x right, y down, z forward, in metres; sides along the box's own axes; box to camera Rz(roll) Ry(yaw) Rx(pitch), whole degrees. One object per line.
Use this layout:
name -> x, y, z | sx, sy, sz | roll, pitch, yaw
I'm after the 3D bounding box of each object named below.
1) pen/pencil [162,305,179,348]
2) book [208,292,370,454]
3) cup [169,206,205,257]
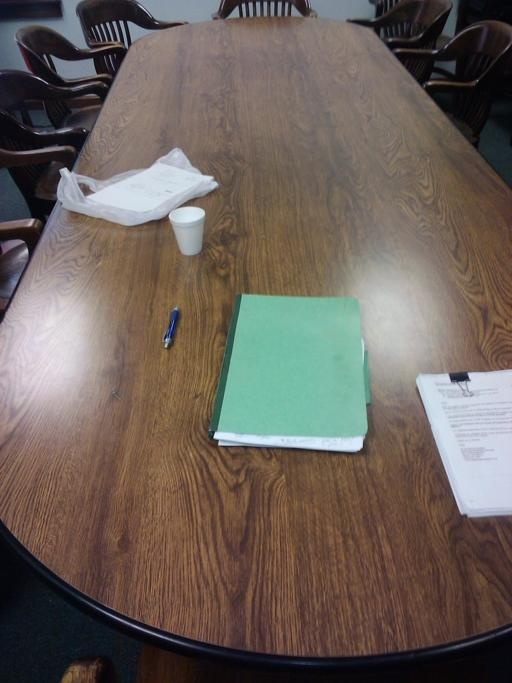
pen/pencil -> -0.127, -0.021, 0.699 | 0.012, 0.011, 0.068 | 35, 37, -21
book -> 0.051, 0.024, 0.639 | 0.191, 0.100, 0.290 | 0, 58, 8
cup -> -0.112, -0.192, 0.824 | 0.059, 0.084, 0.083 | -5, 55, -2
